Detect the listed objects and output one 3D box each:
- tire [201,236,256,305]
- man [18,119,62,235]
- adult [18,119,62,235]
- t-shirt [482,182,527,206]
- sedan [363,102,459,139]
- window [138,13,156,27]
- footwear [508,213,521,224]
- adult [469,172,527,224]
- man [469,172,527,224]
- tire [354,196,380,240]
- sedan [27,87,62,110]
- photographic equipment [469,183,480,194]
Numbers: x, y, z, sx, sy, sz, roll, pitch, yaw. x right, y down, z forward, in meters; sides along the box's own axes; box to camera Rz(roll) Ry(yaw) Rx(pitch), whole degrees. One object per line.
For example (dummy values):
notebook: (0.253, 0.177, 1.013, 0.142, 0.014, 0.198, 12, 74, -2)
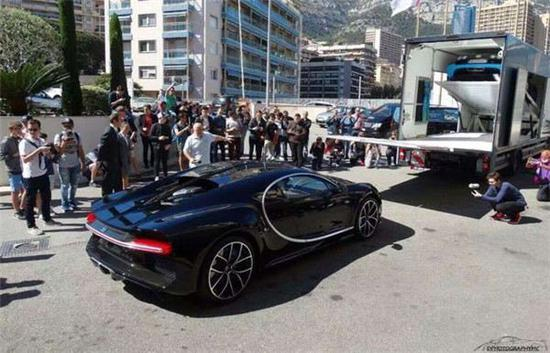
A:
tire: (-0.793, 1.436, 5.304, 0.379, 1.109, 1.084, 3, 0, 43)
man: (-5.361, -0.048, 7.609, 0.695, 2.496, 1.036, -7, 14, -33)
adult: (-5.387, -0.057, 7.649, 0.696, 2.496, 1.132, -7, 14, -33)
t-shirt: (5.938, 0.457, 8.848, 0.934, 0.618, 0.683, -6, -2, 12)
sedan: (6.992, -3.023, 18.664, 3.481, 1.661, 2.517, 4, 10, 14)
window: (-18.260, -22.589, 47.814, 1.961, 1.272, 0.261, 4, 14, 17)
footwear: (6.138, 1.048, 8.605, 0.410, 0.289, 0.158, -12, 7, -25)
adult: (5.881, 0.558, 8.790, 1.241, 1.256, 0.767, -2, 3, 20)
man: (5.899, 0.549, 8.804, 1.209, 1.260, 0.774, -2, 2, 28)
tire: (1.958, 0.870, 7.198, 0.760, 0.782, 0.288, -20, 17, -37)
sedan: (-13.620, -4.823, 20.129, 2.175, 1.081, 1.195, 1, 38, 6)
photographic equipment: (5.734, 0.337, 9.631, 0.289, 0.142, 0.293, -14, 1, -7)
